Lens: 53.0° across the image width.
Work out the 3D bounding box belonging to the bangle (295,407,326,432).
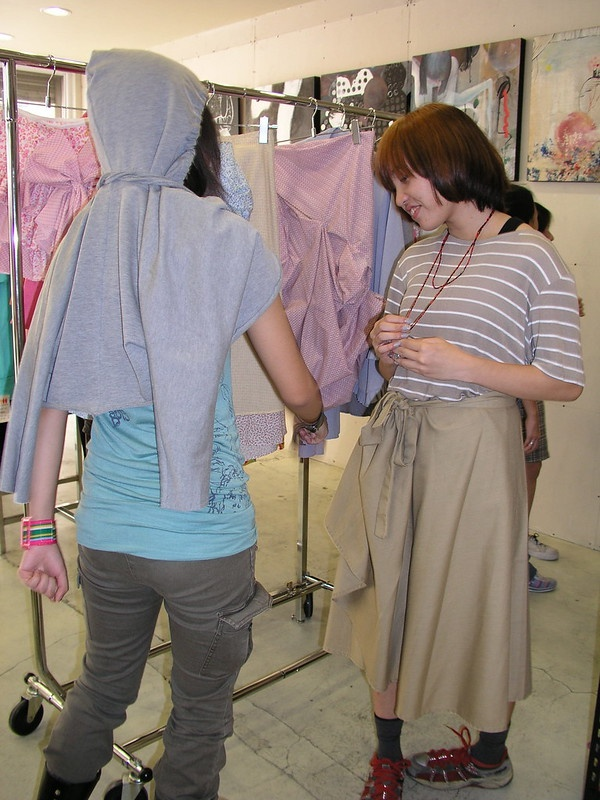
[{"bbox_3d":[0.018,0.041,1.017,0.048,0.058,0.043,-5,-14,0],"label":"bangle"}]

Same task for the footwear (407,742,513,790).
[{"bbox_3d":[0.407,0.934,1.559,0.255,0.090,0.112,3,10,-1],"label":"footwear"}]

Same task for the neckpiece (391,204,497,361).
[{"bbox_3d":[0.316,-0.266,1.270,0.125,0.381,0.017,23,-11,38],"label":"neckpiece"}]

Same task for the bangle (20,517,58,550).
[{"bbox_3d":[-0.362,0.184,0.852,0.055,0.038,0.052,3,-5,-3],"label":"bangle"}]

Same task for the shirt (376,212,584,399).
[{"bbox_3d":[0.354,-0.188,1.240,0.523,0.349,0.222,13,19,42],"label":"shirt"}]
